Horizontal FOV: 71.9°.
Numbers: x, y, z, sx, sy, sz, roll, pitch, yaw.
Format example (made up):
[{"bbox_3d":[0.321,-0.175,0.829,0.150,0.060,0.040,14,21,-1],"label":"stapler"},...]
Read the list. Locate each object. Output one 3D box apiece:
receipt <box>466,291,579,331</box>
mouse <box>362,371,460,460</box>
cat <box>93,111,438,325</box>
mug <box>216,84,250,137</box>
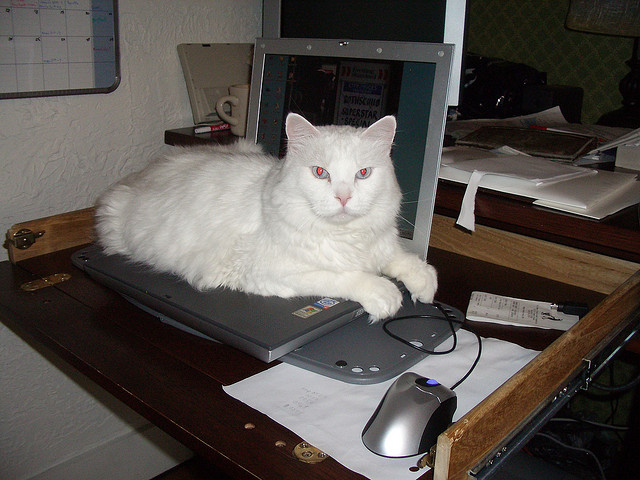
[{"bbox_3d":[0.430,0.156,0.959,0.224,0.021,0.109,6,28,30],"label":"receipt"},{"bbox_3d":[0.140,0.252,0.666,0.169,0.047,0.105,-27,21,-38],"label":"mouse"},{"bbox_3d":[-0.132,-0.152,1.108,0.835,0.378,0.554,17,31,27],"label":"cat"},{"bbox_3d":[-0.303,-0.479,1.677,0.111,0.196,0.149,-18,37,-36],"label":"mug"}]
